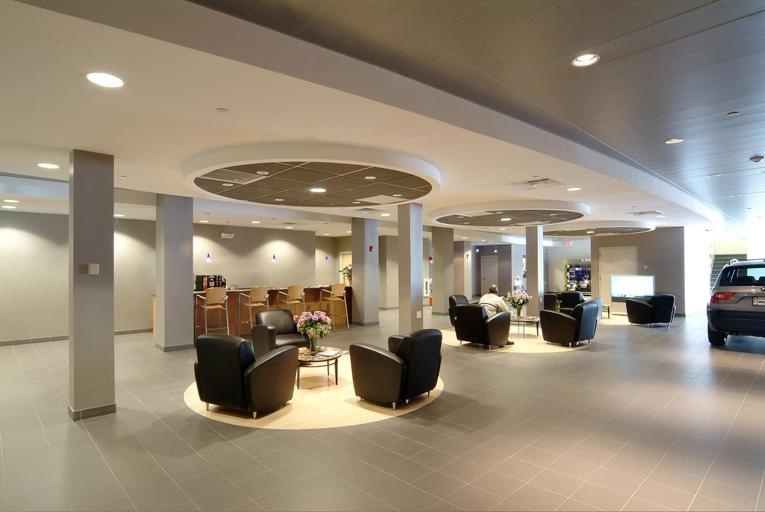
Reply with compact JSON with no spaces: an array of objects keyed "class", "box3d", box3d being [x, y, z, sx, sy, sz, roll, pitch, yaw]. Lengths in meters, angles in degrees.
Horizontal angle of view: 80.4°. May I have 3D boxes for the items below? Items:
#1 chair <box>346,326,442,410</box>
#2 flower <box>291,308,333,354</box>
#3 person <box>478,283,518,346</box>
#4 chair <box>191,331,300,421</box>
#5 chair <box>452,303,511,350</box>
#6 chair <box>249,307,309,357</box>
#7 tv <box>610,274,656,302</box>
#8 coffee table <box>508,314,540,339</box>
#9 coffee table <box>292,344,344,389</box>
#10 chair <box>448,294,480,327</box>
[{"class":"chair","box3d":[0.251,1.760,7.569,1.493,1.024,1.480,-1,-2,-20]},{"class":"flower","box3d":[-1.227,1.368,8.535,0.842,0.824,0.816,1,-1,-31]},{"class":"person","box3d":[2.983,1.574,11.835,0.660,1.646,0.578,1,21,42]},{"class":"chair","box3d":[-2.028,1.746,7.128,1.549,1.321,1.246,1,1,25]},{"class":"chair","box3d":[2.386,1.667,10.935,0.919,0.917,1.129,0,-2,-39]},{"class":"chair","box3d":[-2.065,1.632,9.219,0.874,0.999,1.137,5,3,41]},{"class":"tv","box3d":[9.585,1.147,17.234,0.943,1.202,1.800,4,-6,-35]},{"class":"coffee table","box3d":[3.981,1.947,12.720,0.825,0.369,0.804,0,-2,13]},{"class":"coffee table","box3d":[-1.118,1.947,7.988,0.796,0.355,0.759,0,1,-12]},{"class":"chair","box3d":[2.033,1.501,12.483,0.864,0.874,0.929,-4,-7,37]}]
